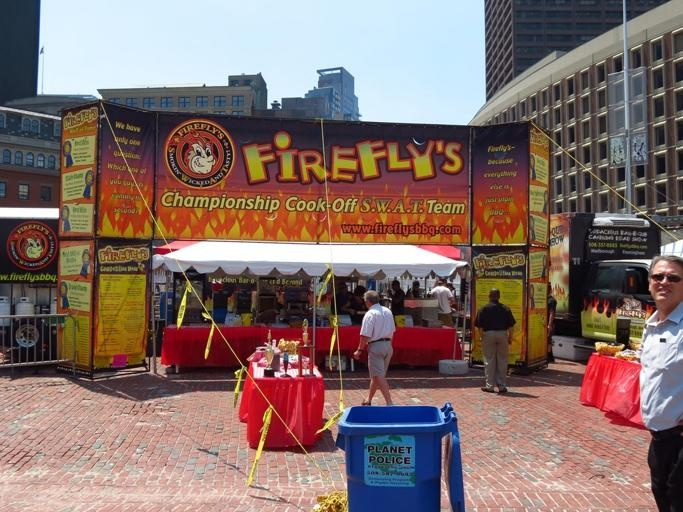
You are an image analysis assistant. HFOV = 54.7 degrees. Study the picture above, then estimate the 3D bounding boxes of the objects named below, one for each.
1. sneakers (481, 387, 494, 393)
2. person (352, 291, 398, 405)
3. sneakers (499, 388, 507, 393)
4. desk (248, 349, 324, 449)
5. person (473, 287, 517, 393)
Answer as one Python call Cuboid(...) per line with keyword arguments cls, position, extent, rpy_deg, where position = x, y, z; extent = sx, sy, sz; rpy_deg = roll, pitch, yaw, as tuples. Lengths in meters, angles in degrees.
Cuboid(cls="sneakers", position=(3.102, 2.839, 14.063), extent=(0.242, 0.131, 0.099), rpy_deg=(6, 1, 18))
Cuboid(cls="person", position=(0.610, 1.785, 12.291), extent=(0.690, 2.251, 1.247), rpy_deg=(1, 5, 3))
Cuboid(cls="sneakers", position=(3.437, 2.866, 14.085), extent=(0.149, 0.123, 0.077), rpy_deg=(-2, 2, -23))
Cuboid(cls="desk", position=(-0.936, 2.409, 10.949), extent=(1.264, 1.286, 1.019), rpy_deg=(0, 5, -7))
Cuboid(cls="person", position=(3.239, 1.807, 14.074), extent=(0.773, 2.205, 0.396), rpy_deg=(1, 5, 7))
